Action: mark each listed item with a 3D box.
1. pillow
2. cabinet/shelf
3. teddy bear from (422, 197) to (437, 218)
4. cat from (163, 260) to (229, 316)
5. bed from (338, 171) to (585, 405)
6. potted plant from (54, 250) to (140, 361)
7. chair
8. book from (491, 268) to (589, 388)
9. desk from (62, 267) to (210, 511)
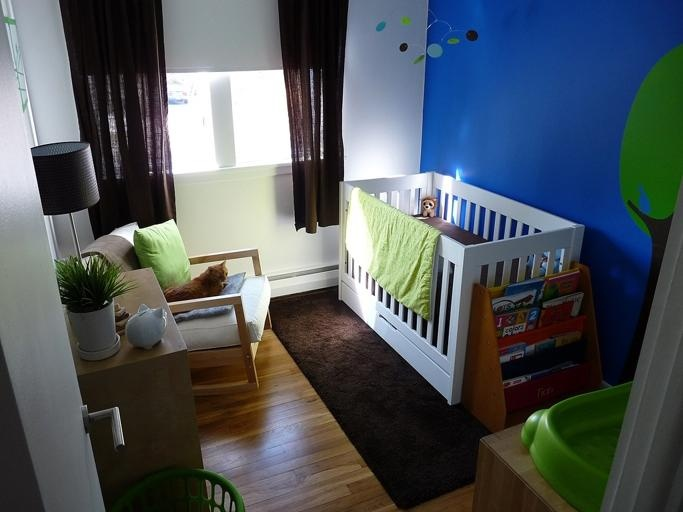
[{"bbox_3d":[-1.057,0.003,2.784,0.117,0.358,0.321,-19,17,7],"label":"pillow"},{"bbox_3d":[0.938,0.461,2.433,0.670,0.710,0.294,-12,23,-22],"label":"cabinet/shelf"},{"bbox_3d":[0.701,-0.395,3.824,0.112,0.158,0.075,15,25,38],"label":"teddy bear"},{"bbox_3d":[-0.831,0.155,2.909,0.152,0.260,0.466,27,41,30],"label":"cat"},{"bbox_3d":[0.735,0.223,2.873,0.622,0.806,1.125,-10,28,-23],"label":"bed"},{"bbox_3d":[-0.831,0.167,1.606,0.181,0.363,0.146,-10,20,-18],"label":"potted plant"},{"bbox_3d":[-0.853,0.216,3.093,1.030,1.046,0.851,-3,30,-6],"label":"chair"},{"bbox_3d":[1.065,0.395,2.583,0.515,0.552,0.090,-13,18,-19],"label":"book"},{"bbox_3d":[-0.703,0.469,1.628,0.279,0.754,0.808,-9,25,-22],"label":"desk"}]
